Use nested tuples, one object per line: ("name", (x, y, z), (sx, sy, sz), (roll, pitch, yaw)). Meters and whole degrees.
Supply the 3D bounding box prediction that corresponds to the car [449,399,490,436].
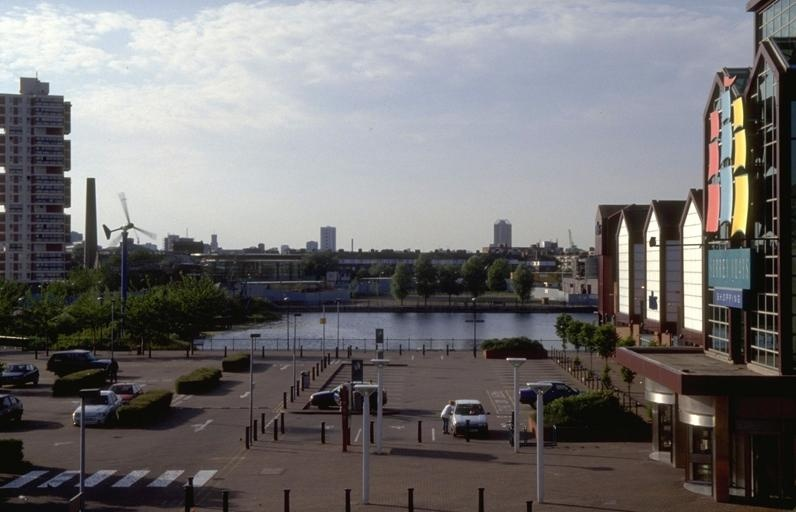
("car", (4.386, 10.242, 67.942), (2.235, 1.933, 2.951), (-1, -1, -8))
